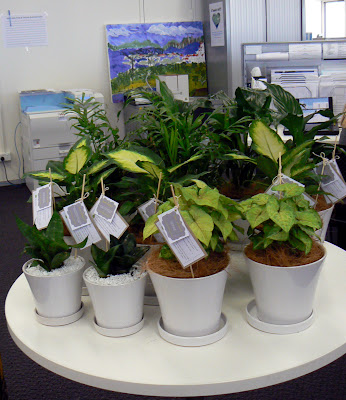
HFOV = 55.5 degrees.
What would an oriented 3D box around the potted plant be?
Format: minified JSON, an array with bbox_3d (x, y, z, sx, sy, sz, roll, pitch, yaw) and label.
[{"bbox_3d":[0.028,0.012,0.852,0.600,0.504,0.547,-4,9,-8],"label":"potted plant"}]
